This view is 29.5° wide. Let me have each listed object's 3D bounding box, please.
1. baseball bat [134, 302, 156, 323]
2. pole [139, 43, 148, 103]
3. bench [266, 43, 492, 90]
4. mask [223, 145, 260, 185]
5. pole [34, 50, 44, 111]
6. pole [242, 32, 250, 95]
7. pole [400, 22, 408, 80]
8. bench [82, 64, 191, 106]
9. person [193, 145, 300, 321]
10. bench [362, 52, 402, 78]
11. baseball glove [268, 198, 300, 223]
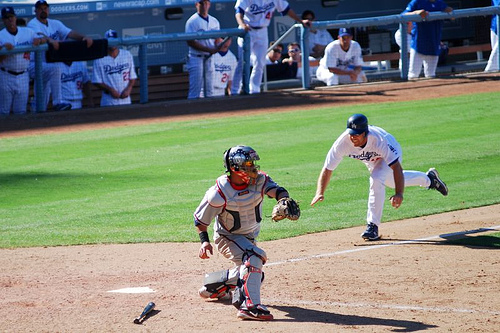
[{"bbox_3d":[-1.435,2.015,13.110,0.101,0.122,0.470,25,39,13],"label":"baseball bat"},{"bbox_3d":[-2.434,-2.140,21.762,0.216,1.347,0.721,-3,5,-6],"label":"pole"},{"bbox_3d":[3.481,-2.589,24.511,6.674,1.070,2.014,-5,6,-35],"label":"bench"},{"bbox_3d":[-0.123,-0.042,13.429,0.568,0.490,0.422,2,5,4],"label":"mask"},{"bbox_3d":[-4.626,-1.870,20.954,0.232,1.305,0.415,-3,5,-12],"label":"pole"},{"bbox_3d":[-0.091,-2.376,21.919,0.198,1.385,0.546,-2,5,-2],"label":"pole"},{"bbox_3d":[3.653,-2.730,22.492,0.165,1.285,0.544,-1,5,10],"label":"pole"},{"bbox_3d":[-2.695,-1.951,22.933,0.292,0.904,3.836,9,12,36],"label":"bench"},{"bbox_3d":[-0.086,0.903,13.380,1.171,2.381,0.810,2,6,37],"label":"person"},{"bbox_3d":[3.691,-2.743,25.285,1.146,0.317,0.827,-17,11,13],"label":"bench"},{"bbox_3d":[0.556,0.644,13.376,0.276,0.170,0.323,-17,-24,-24],"label":"baseball glove"}]
